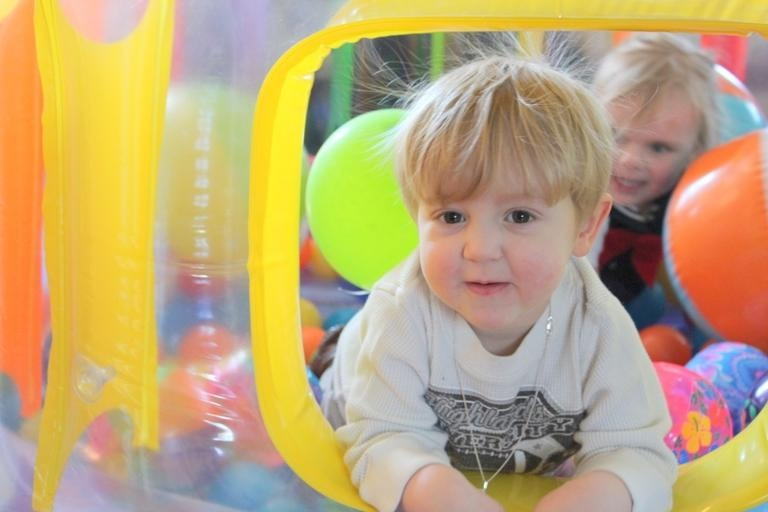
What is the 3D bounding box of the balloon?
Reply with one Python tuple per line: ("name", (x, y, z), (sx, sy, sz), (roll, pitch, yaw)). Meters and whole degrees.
("balloon", (-0.042, -0.150, 2.329), (0.339, 0.469, 0.374), (-4, -11, 29))
